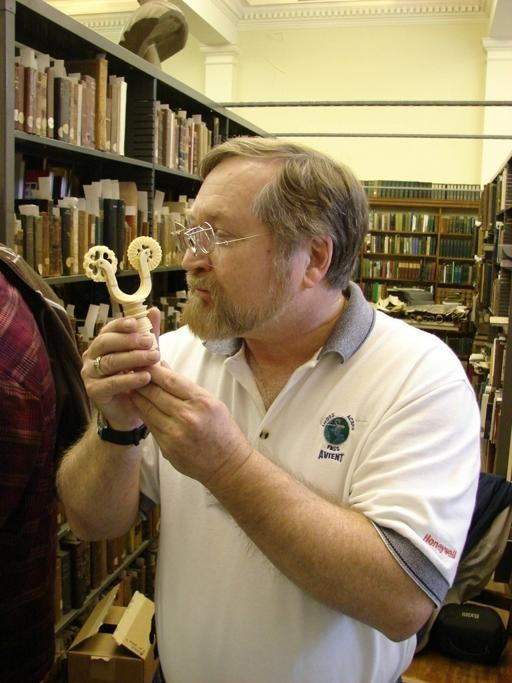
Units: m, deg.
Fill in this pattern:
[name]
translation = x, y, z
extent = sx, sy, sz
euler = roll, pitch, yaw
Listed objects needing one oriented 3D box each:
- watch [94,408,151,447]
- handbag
[watch]
translation = -0.245, 0.148, 0.962
extent = 0.065, 0.026, 0.067
euler = 6, 15, 15
[handbag]
translation = 0.871, 1.219, 2.271
extent = 0.276, 0.196, 0.196
euler = 12, -5, 8
